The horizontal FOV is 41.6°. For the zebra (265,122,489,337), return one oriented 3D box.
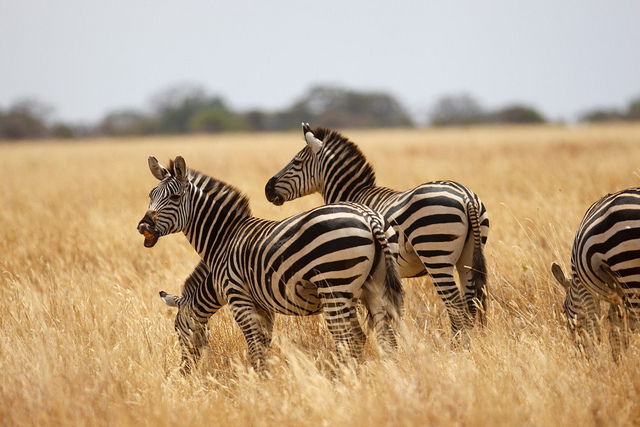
[{"bbox_3d":[0.666,0.270,10.045,2.811,2.527,0.944,1,-1,34],"label":"zebra"}]

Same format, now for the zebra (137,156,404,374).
[{"bbox_3d":[-0.536,0.590,9.160,2.850,2.416,0.930,-1,9,20],"label":"zebra"}]

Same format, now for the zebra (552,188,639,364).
[{"bbox_3d":[2.968,0.646,8.872,0.790,1.760,0.568,-1,3,24],"label":"zebra"}]
